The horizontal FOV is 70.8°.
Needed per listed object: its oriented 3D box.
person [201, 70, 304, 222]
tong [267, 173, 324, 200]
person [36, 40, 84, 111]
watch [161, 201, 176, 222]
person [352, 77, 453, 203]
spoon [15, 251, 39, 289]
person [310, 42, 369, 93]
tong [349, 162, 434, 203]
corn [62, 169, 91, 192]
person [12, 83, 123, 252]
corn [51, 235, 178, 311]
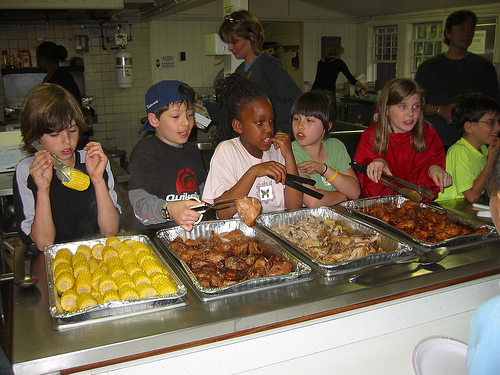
[{"bbox_3d":[0.021,-0.214,1.992,0.491,0.839,0.509,-8,20,-27],"label":"person"},{"bbox_3d":[0.217,-0.030,1.713,0.048,0.133,0.511,-20,-21,35],"label":"tong"},{"bbox_3d":[-2.852,-1.541,5.227,0.515,1.192,0.669,-14,25,-25],"label":"person"},{"bbox_3d":[-0.365,0.107,1.528,0.044,0.104,0.097,-6,13,-19],"label":"watch"},{"bbox_3d":[1.065,-0.296,2.386,0.502,0.873,0.577,-3,16,-14],"label":"person"},{"bbox_3d":[-0.859,0.296,1.357,0.066,0.043,0.311,-7,25,-28],"label":"spoon"},{"bbox_3d":[1.596,-2.234,6.696,1.078,1.020,0.674,-4,18,-18],"label":"person"},{"bbox_3d":[0.836,-0.073,1.955,0.376,0.235,0.384,-2,13,-21],"label":"tong"},{"bbox_3d":[-0.781,-0.025,1.621,0.076,0.055,0.133,51,12,28],"label":"corn"},{"bbox_3d":[-0.927,-0.051,1.722,0.536,0.879,0.446,-3,16,-22],"label":"person"},{"bbox_3d":[-0.505,0.300,1.263,0.357,0.101,0.520,-9,13,-30],"label":"corn"}]
